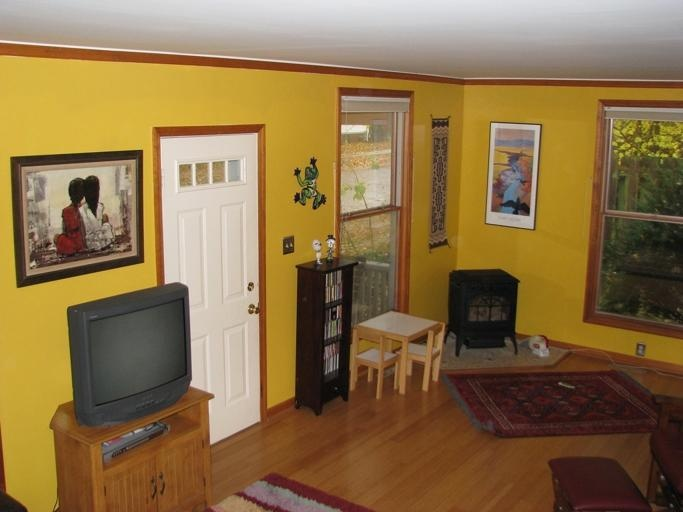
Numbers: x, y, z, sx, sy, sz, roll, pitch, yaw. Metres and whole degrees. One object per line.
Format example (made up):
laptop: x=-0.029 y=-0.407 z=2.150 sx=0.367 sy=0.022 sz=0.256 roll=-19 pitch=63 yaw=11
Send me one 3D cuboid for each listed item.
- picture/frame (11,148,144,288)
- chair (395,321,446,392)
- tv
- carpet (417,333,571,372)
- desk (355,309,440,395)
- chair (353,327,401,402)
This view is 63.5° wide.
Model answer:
picture/frame: x=-1.740 y=-0.259 z=3.556 sx=0.062 sy=0.835 sz=0.883 roll=9 pitch=13 yaw=40
chair: x=0.817 y=1.061 z=5.767 sx=0.459 sy=0.814 sz=0.446 roll=16 pitch=24 yaw=35
tv: x=-1.405 y=0.676 z=3.706 sx=0.410 sy=0.716 sz=0.730 roll=7 pitch=10 yaw=41
carpet: x=1.957 y=1.170 z=6.849 sx=1.976 sy=0.019 sz=1.792 roll=-9 pitch=1 yaw=43
desk: x=0.637 y=1.020 z=5.840 sx=0.692 sy=0.641 sz=0.910 roll=9 pitch=13 yaw=37
chair: x=0.359 y=1.124 z=5.682 sx=0.437 sy=0.740 sz=0.423 roll=19 pitch=31 yaw=38
